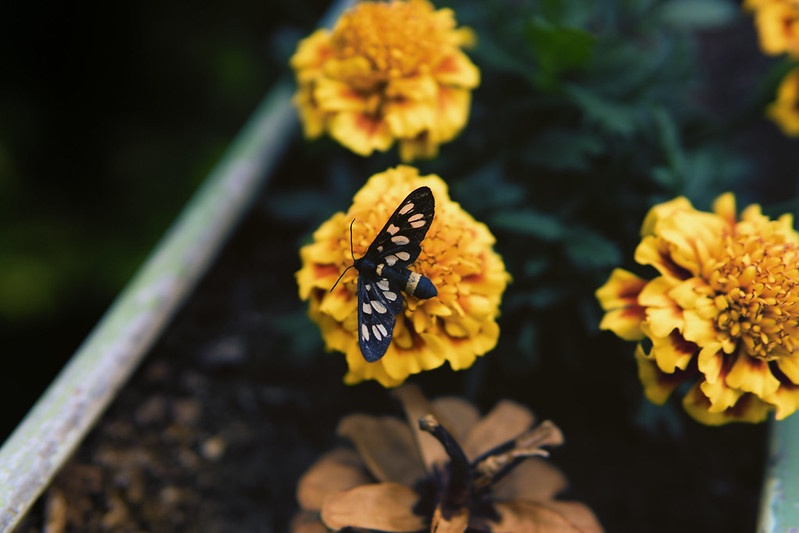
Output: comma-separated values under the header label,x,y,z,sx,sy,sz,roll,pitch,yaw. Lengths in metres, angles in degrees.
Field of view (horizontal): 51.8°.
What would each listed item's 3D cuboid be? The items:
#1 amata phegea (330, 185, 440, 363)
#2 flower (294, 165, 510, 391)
label,x,y,z,sx,sy,sz,roll,pitch,yaw
amata phegea,-0.014,0.003,0.764,0.098,0.105,0.127,4,48,-6
flower,-0.006,-0.003,0.835,0.219,0.242,0.076,-28,84,-2
